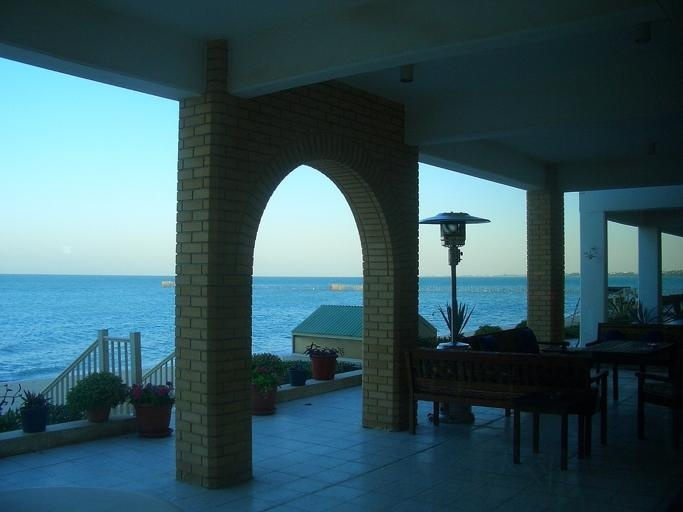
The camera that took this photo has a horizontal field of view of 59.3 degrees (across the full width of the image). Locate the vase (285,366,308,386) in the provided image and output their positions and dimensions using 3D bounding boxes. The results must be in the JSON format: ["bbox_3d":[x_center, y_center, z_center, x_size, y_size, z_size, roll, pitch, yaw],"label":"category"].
[{"bbox_3d":[-0.704,1.891,9.472,0.261,0.266,0.234,-1,-2,-28],"label":"vase"}]

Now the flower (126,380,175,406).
[{"bbox_3d":[-2.311,1.649,7.209,0.369,0.154,0.367,-4,-6,42],"label":"flower"}]

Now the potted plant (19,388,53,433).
[{"bbox_3d":[-3.471,1.733,6.749,0.262,0.452,0.355,-1,-2,-27],"label":"potted plant"}]

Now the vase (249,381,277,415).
[{"bbox_3d":[-1.037,1.974,8.390,0.455,0.329,0.438,-3,-3,35],"label":"vase"}]

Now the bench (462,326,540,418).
[{"bbox_3d":[1.902,1.422,7.192,0.478,0.464,1.378,-5,-4,40],"label":"bench"}]

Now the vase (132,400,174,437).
[{"bbox_3d":[-2.265,1.938,7.174,0.495,0.307,0.425,1,-8,-9],"label":"vase"}]

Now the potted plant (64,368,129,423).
[{"bbox_3d":[-2.942,1.712,7.255,0.580,0.471,0.555,-4,-10,10],"label":"potted plant"}]

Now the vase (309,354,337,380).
[{"bbox_3d":[-0.267,1.827,10.002,0.486,0.288,0.448,-1,-2,21],"label":"vase"}]
